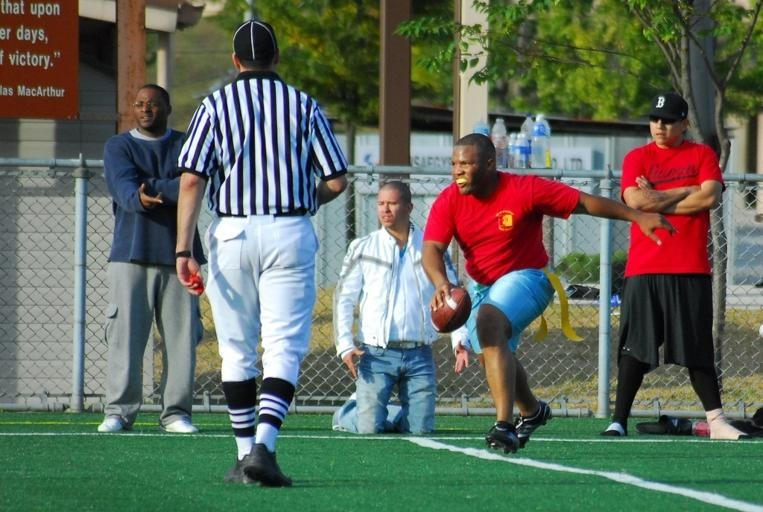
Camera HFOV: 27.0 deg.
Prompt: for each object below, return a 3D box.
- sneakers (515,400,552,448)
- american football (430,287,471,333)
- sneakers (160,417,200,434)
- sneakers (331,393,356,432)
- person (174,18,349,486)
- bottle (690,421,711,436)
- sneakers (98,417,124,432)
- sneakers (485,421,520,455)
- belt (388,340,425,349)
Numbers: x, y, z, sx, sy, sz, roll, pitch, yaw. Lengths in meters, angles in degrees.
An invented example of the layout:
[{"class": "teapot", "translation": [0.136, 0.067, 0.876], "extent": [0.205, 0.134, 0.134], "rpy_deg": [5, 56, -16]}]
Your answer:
[{"class": "sneakers", "translation": [1.418, 1.562, 14.839], "extent": [0.143, 0.439, 0.200], "rpy_deg": [18, -24, 49]}, {"class": "american football", "translation": [0.639, 0.486, 14.285], "extent": [0.245, 0.402, 0.314], "rpy_deg": [49, -19, -14]}, {"class": "sneakers", "translation": [-1.947, 1.632, 15.456], "extent": [0.328, 0.124, 0.151], "rpy_deg": [-2, 1, 19]}, {"class": "sneakers", "translation": [-0.312, 1.595, 16.006], "extent": [0.274, 0.361, 0.142], "rpy_deg": [3, -23, 46]}, {"class": "person", "translation": [-1.054, -0.056, 13.752], "extent": [1.400, 4.026, 0.545], "rpy_deg": [0, -2, -9]}, {"class": "bottle", "translation": [3.131, 1.675, 15.542], "extent": [0.133, 0.138, 0.050], "rpy_deg": [-2, -7, 29]}, {"class": "sneakers", "translation": [-2.626, 1.625, 15.481], "extent": [0.273, 0.146, 0.151], "rpy_deg": [0, -2, -12]}, {"class": "sneakers", "translation": [1.070, 1.581, 14.027], "extent": [0.286, 0.282, 0.257], "rpy_deg": [0, -2, 7]}, {"class": "belt", "translation": [0.236, 0.878, 15.805], "extent": [0.349, 0.082, 0.053], "rpy_deg": [0, -2, -1]}]
